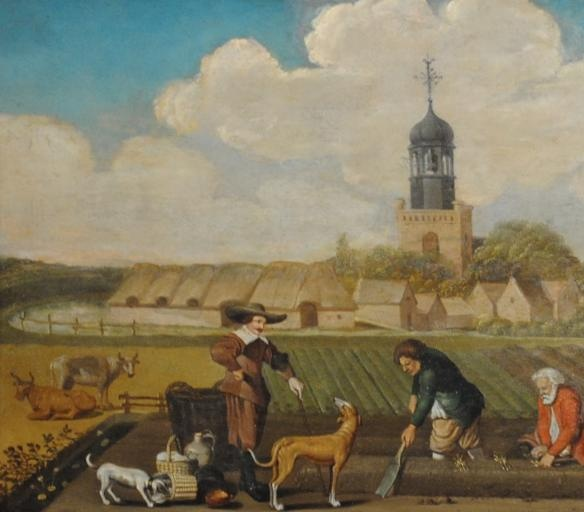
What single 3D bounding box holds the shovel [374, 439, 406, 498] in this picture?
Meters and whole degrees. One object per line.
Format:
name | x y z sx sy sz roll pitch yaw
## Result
shovel | 1.050 2.330 19.927 0.244 0.527 0.274 1 -1 10
